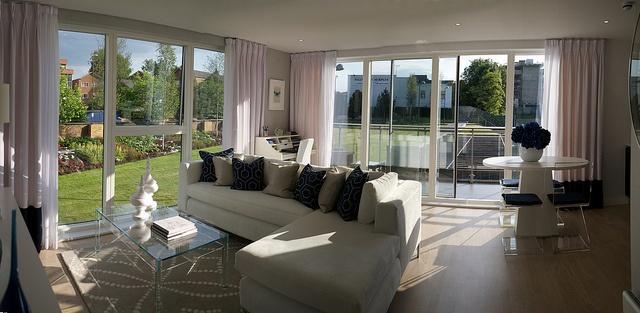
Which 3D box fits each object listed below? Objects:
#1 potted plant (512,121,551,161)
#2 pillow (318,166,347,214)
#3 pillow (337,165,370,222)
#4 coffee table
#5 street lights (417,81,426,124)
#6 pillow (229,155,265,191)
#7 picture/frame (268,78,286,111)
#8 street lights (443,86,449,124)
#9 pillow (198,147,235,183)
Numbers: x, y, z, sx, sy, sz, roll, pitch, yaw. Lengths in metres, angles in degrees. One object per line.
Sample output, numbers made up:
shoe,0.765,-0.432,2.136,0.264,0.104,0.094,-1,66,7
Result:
potted plant,4.075,-0.317,7.445,0.776,0.749,0.818,-8,6,-32
pillow,0.209,0.626,6.602,0.389,0.675,0.619,23,0,-28
pillow,0.564,0.670,6.409,0.437,0.798,0.727,24,-5,20
coffee table,-2.539,1.448,6.339,1.439,0.845,2.457,-1,6,-45
street lights,2.424,-1.273,8.889,0.229,1.019,0.107,1,7,8
pillow,-1.426,0.352,7.357,0.733,0.609,0.259,-1,-10,2
picture/frame,-1.104,-1.559,9.520,0.062,0.784,0.504,6,9,41
street lights,2.956,-1.236,8.785,0.128,0.816,0.067,1,7,10
pillow,-2.106,0.197,7.624,0.832,0.681,0.276,-2,-1,-12
